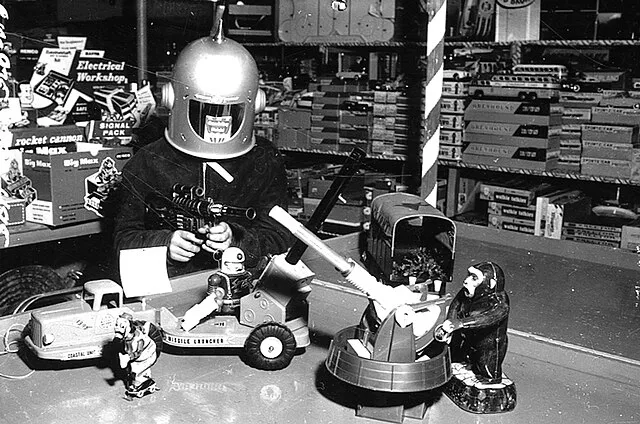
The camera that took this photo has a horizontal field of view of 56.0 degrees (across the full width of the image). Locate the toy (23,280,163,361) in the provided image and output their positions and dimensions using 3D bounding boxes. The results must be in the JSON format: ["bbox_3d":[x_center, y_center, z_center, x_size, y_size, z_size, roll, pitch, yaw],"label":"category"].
[{"bbox_3d":[-0.587,0.253,1.540,0.244,0.141,0.167,-1,14,-32],"label":"toy"}]

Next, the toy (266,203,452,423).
[{"bbox_3d":[0.097,0.232,1.380,0.427,0.465,0.237,1,15,-6],"label":"toy"}]

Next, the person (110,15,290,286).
[{"bbox_3d":[-0.351,-0.176,1.681,0.458,0.813,0.458,-9,40,-32],"label":"person"}]

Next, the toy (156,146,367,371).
[{"bbox_3d":[-0.173,0.099,1.789,0.634,0.743,0.373,2,16,-3],"label":"toy"}]

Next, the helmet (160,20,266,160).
[{"bbox_3d":[-0.319,-0.344,1.766,0.314,0.320,0.318,1,38,-26],"label":"helmet"}]
